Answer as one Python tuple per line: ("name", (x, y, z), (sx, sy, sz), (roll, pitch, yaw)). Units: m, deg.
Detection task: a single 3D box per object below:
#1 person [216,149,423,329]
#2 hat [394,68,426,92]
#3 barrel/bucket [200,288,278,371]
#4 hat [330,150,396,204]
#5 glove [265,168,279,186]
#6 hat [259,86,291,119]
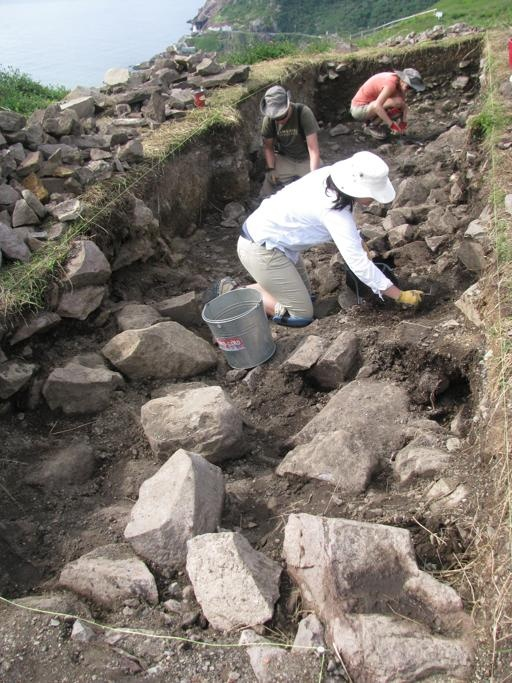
("person", (0.438, -0.578, 3.640), (1.326, 1.067, 0.632), (16, 37, 20))
("hat", (1.342, -2.281, 5.100), (0.199, 0.194, 0.467), (-8, 21, 17))
("barrel/bucket", (-0.095, -0.065, 3.654), (0.369, 0.367, 0.364), (-14, 29, 8))
("hat", (0.538, -0.797, 3.015), (0.259, 0.307, 0.115), (-46, -9, -32))
("glove", (0.150, -1.517, 5.388), (0.109, 0.137, 0.052), (2, 26, 11))
("hat", (0.150, -1.884, 4.611), (0.220, 0.238, 0.263), (-12, 21, 6))
